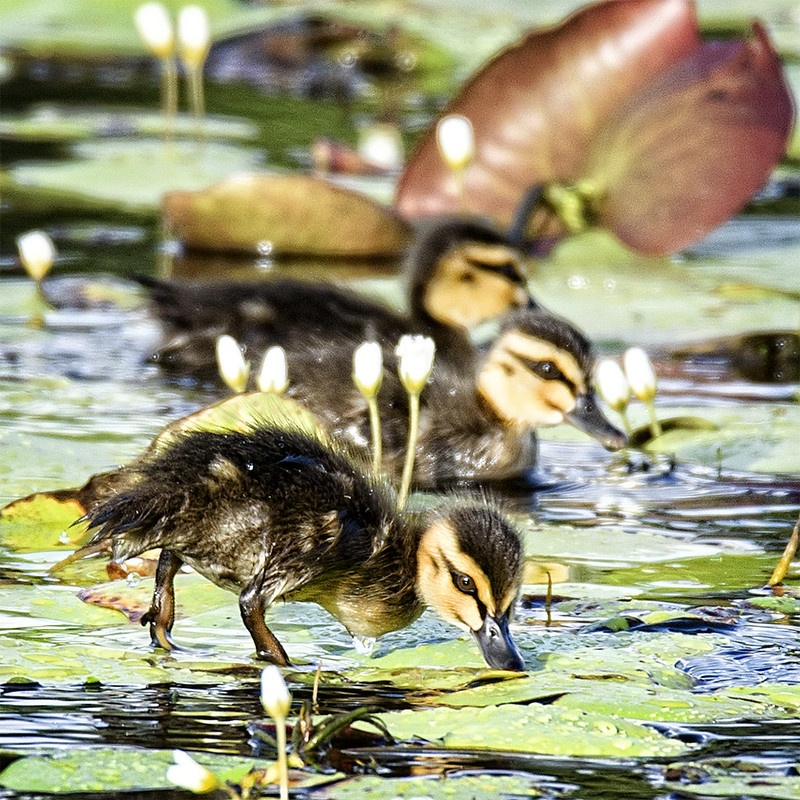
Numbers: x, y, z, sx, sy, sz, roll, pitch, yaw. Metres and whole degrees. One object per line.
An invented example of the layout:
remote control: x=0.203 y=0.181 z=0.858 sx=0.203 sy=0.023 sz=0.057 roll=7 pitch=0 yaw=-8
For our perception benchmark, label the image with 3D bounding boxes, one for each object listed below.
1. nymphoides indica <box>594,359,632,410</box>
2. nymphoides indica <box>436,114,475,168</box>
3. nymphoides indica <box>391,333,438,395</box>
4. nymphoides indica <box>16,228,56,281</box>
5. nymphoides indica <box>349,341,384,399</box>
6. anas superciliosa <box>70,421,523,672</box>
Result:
nymphoides indica: x=0.808 y=-0.057 z=4.561 sx=0.155 sy=0.207 sz=0.075 roll=25 pitch=58 yaw=36
nymphoides indica: x=0.274 y=-1.371 z=6.223 sx=0.250 sy=0.267 sz=0.067 roll=-14 pitch=21 yaw=-27
nymphoides indica: x=0.044 y=-0.107 z=3.480 sx=0.179 sy=0.169 sz=0.049 roll=3 pitch=1 yaw=-3
nymphoides indica: x=-1.955 y=-0.781 z=6.306 sx=0.275 sy=0.261 sz=0.101 roll=1 pitch=17 yaw=-4
nymphoides indica: x=-0.089 y=-0.095 z=3.459 sx=0.150 sy=0.177 sz=0.047 roll=3 pitch=30 yaw=13
anas superciliosa: x=-0.253 y=0.391 z=3.173 sx=1.126 sy=0.591 sz=0.645 roll=-1 pitch=12 yaw=-10
